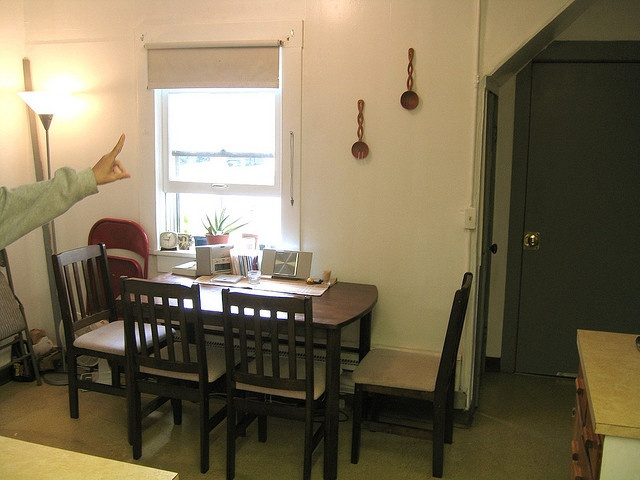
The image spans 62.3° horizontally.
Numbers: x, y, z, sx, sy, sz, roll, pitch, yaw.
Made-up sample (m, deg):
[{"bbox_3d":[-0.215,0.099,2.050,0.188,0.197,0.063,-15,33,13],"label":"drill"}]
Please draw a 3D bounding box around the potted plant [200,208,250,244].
[{"bbox_3d":[-0.765,-0.105,3.986,0.286,0.210,0.295,1,5,16],"label":"potted plant"}]

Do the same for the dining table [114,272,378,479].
[{"bbox_3d":[-0.263,0.469,3.295,1.744,1.147,1.000,5,11,23],"label":"dining table"}]

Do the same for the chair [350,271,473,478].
[{"bbox_3d":[0.553,0.749,3.232,0.661,1.142,0.524,3,6,16],"label":"chair"}]

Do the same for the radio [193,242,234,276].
[{"bbox_3d":[-0.761,0.139,3.822,0.165,0.217,0.224,1,4,38],"label":"radio"}]

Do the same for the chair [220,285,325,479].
[{"bbox_3d":[-0.276,0.778,3.215,0.608,1.081,0.925,1,5,-6],"label":"chair"}]

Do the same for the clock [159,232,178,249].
[{"bbox_3d":[-1.158,0.000,4.050,0.102,0.141,0.049,1,-7,2],"label":"clock"}]

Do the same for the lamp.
[{"bbox_3d":[-1.971,-0.111,3.921,0.334,1.943,0.333,-5,1,27],"label":"lamp"}]

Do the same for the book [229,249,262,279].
[{"bbox_3d":[-0.534,0.154,3.753,0.237,0.245,0.185,0,2,-5],"label":"book"}]

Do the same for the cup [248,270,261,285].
[{"bbox_3d":[-0.457,0.243,3.606,0.077,0.065,0.080,3,14,-1],"label":"cup"}]
